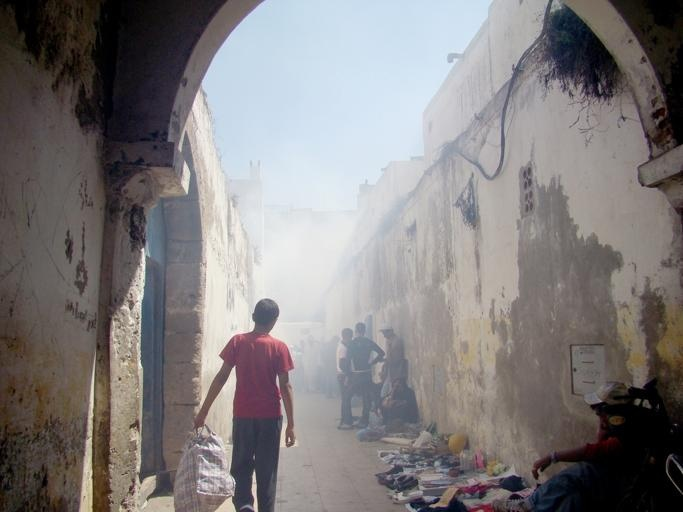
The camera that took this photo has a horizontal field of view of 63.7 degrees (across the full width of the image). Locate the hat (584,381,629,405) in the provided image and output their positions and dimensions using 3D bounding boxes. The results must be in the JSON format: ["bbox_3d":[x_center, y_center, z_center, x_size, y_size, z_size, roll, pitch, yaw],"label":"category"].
[{"bbox_3d":[1.908,1.036,3.967,0.247,0.177,0.082,-23,-66,24],"label":"hat"}]

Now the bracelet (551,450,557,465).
[{"bbox_3d":[1.614,1.527,4.148,0.026,0.078,0.059,4,4,-6],"label":"bracelet"}]
